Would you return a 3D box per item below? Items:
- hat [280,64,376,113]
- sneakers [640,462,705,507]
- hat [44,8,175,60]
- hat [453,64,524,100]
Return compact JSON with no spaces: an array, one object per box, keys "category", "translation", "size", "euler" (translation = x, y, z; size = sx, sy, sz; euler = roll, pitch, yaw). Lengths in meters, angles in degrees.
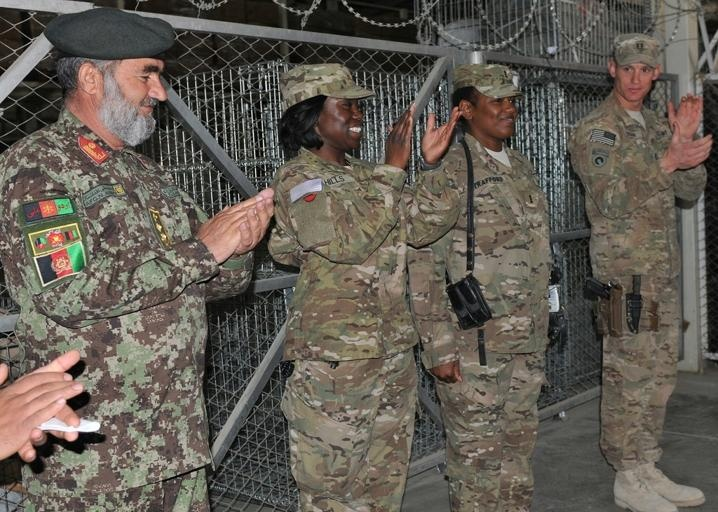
[{"category":"hat","translation":[-0.176,-0.806,3.979],"size":[0.334,0.140,0.247],"euler":[-8,4,15]},{"category":"sneakers","translation":[1.799,1.381,4.903],"size":[0.469,0.195,0.166],"euler":[0,11,6]},{"category":"hat","translation":[-0.926,-0.853,3.172],"size":[0.277,0.101,0.311],"euler":[12,19,25]},{"category":"hat","translation":[0.689,-0.972,4.430],"size":[0.310,0.112,0.212],"euler":[16,14,35]}]
